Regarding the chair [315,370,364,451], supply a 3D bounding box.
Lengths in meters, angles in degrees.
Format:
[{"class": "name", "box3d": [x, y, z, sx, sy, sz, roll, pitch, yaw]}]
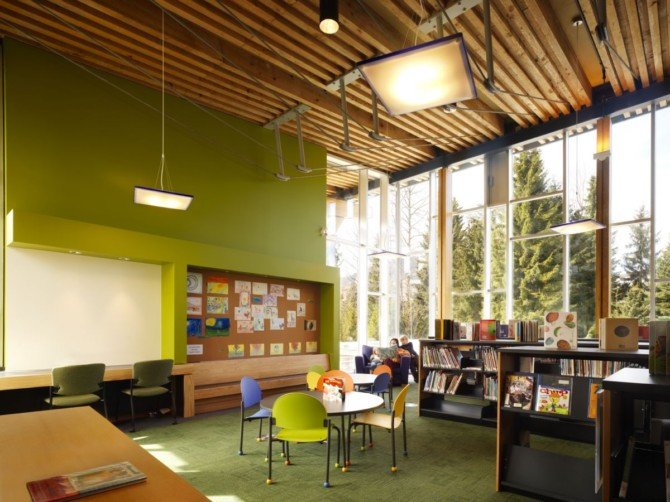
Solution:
[{"class": "chair", "box3d": [0.047, 2.035, 6.948, 0.339, 0.479, 0.606, -1, 1, -38]}]

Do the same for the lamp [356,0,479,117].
[{"class": "lamp", "box3d": [1.105, -2.684, 6.628, 1.609, 0.409, 1.583, -10, -28, 30]}]

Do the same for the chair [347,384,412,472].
[{"class": "chair", "box3d": [0.613, 2.320, 6.749, 0.737, 1.077, 0.717, 0, -1, 29]}]

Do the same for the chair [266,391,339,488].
[{"class": "chair", "box3d": [-0.414, 2.275, 6.208, 0.778, 1.171, 0.844, 0, -1, 0]}]

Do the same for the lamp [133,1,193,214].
[{"class": "lamp", "box3d": [-2.886, -2.212, 8.320, 0.882, 3.062, 2.137, -1, 2, -19]}]

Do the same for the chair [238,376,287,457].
[{"class": "chair", "box3d": [-0.992, 2.260, 6.878, 0.734, 0.929, 0.765, 4, -6, -33]}]

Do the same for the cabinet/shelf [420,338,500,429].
[{"class": "cabinet/shelf", "box3d": [2.237, 2.074, 8.538, 1.244, 1.106, 0.485, -7, -13, 38]}]

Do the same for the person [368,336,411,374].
[{"class": "person", "box3d": [1.278, 2.459, 11.847, 0.673, 0.532, 1.055, -4, -15, 30]}]
